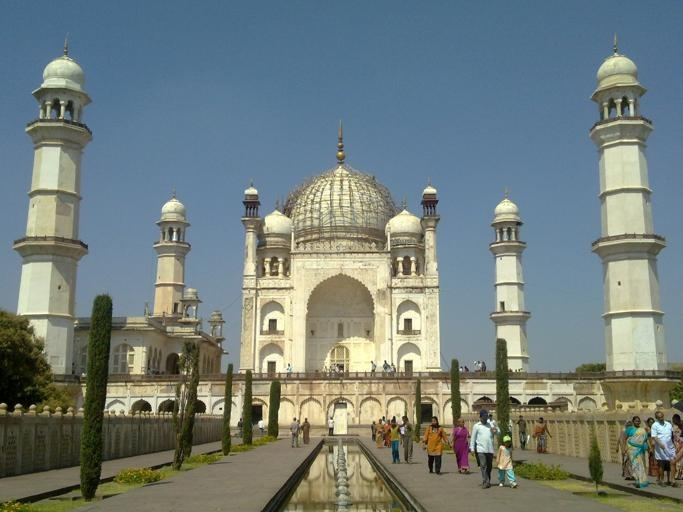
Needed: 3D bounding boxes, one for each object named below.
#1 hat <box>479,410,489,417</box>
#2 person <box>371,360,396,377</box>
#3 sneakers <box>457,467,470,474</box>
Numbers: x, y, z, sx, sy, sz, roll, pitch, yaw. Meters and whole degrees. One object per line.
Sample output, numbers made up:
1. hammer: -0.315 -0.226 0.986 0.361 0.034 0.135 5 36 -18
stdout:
1. hat: 3.984 4.411 20.623 0.236 0.188 0.240 0 -1 -23
2. person: 3.320 8.582 55.775 1.136 1.156 1.150 9 -20 -30
3. sneakers: 3.815 6.748 23.126 0.288 0.122 0.323 6 15 -7
